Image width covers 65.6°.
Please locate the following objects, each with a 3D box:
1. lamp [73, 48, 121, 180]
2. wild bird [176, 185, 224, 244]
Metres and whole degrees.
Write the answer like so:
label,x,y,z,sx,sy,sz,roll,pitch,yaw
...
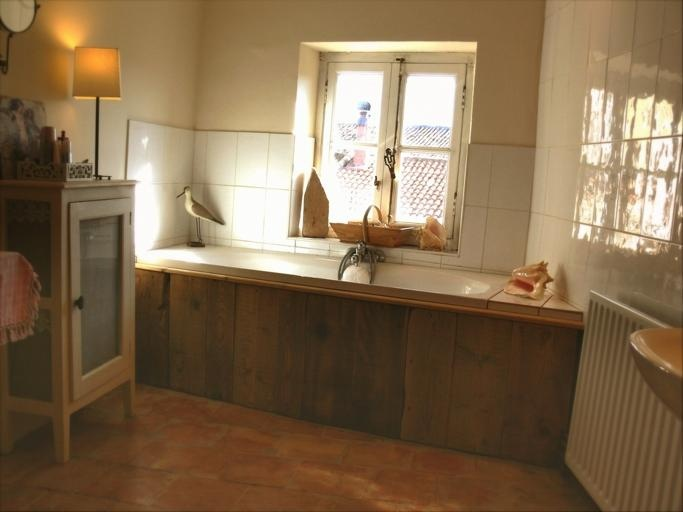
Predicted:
label,x,y,z,sx,sy,sz,roll,pitch,yaw
lamp,-1.286,-0.762,2.798,0.227,0.677,0.433,-3,11,-27
wild bird,-0.984,-0.279,3.739,0.317,0.408,0.296,4,10,9
